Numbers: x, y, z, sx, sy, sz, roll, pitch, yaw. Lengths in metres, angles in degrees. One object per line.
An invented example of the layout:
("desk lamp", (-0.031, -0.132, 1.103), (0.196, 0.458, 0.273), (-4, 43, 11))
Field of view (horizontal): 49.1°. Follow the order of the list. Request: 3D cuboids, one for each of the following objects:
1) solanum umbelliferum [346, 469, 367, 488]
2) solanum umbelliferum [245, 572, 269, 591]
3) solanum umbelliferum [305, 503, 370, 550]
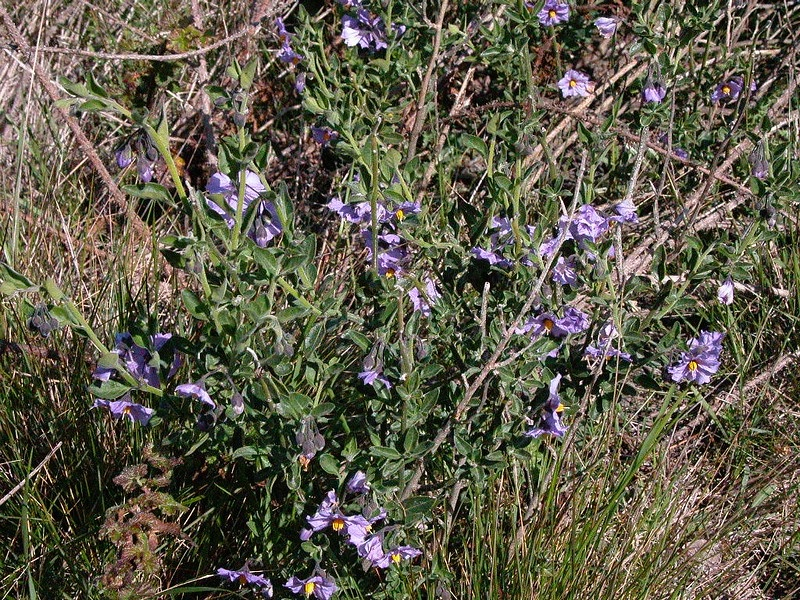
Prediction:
("solanum umbelliferum", (-0.149, 0.628, 3.024), (0.075, 0.067, 0.055), (3, 51, -15))
("solanum umbelliferum", (-0.525, 1.026, 3.172), (0.072, 0.041, 0.087), (10, 83, -31))
("solanum umbelliferum", (-0.221, 0.785, 3.034), (0.153, 0.185, 0.100), (12, 76, 32))
